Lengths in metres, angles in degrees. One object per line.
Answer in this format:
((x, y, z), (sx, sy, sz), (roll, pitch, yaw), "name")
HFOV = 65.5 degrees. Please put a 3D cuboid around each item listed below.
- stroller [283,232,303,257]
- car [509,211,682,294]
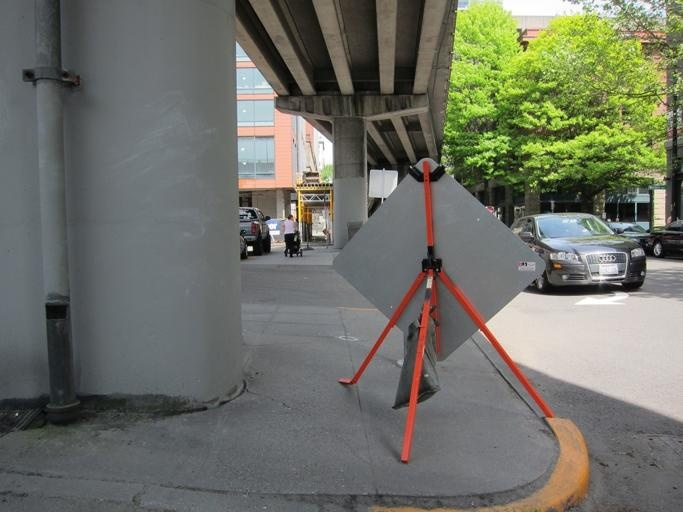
((-2.501, -0.538, 25.210), (0.886, 1.570, 1.055), (2, 6, 22), "stroller")
((5.741, -0.030, 12.783), (2.674, 1.874, 2.294), (8, 8, 41), "car")
